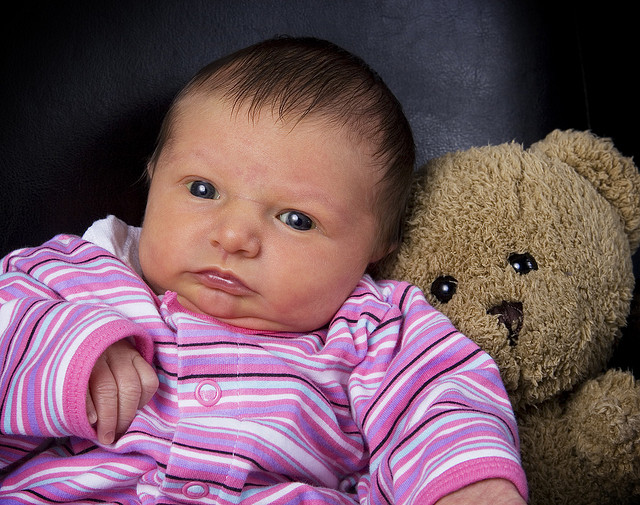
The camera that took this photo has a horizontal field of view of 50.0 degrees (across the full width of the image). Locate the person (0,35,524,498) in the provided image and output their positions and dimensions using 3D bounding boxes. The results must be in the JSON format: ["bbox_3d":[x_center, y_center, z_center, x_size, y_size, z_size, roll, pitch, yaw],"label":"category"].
[{"bbox_3d":[-0.137,0.044,1.294,0.741,0.713,0.428,15,6,-4],"label":"person"}]
